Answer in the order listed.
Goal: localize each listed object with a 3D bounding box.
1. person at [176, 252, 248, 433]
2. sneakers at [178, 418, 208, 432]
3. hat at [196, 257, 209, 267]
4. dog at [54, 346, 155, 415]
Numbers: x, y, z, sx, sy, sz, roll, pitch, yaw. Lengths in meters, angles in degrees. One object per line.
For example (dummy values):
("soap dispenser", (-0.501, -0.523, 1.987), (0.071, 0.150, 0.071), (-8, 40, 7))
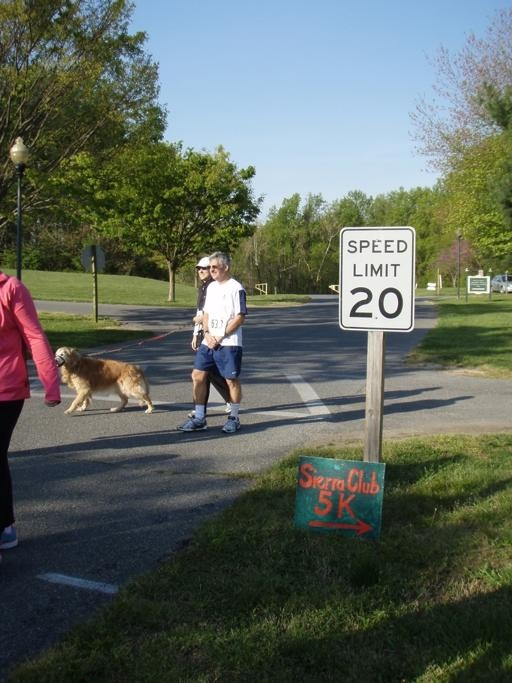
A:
("person", (-0.452, 0.008, 8.059), (0.761, 2.074, 0.592), (4, 6, 35))
("sneakers", (-0.731, 0.962, 8.199), (0.362, 0.151, 0.128), (2, -2, -31))
("hat", (-0.676, -1.021, 8.747), (0.143, 0.094, 0.191), (1, -4, 32))
("dog", (-2.019, 0.539, 9.135), (1.327, 0.765, 0.423), (6, -11, -28))
